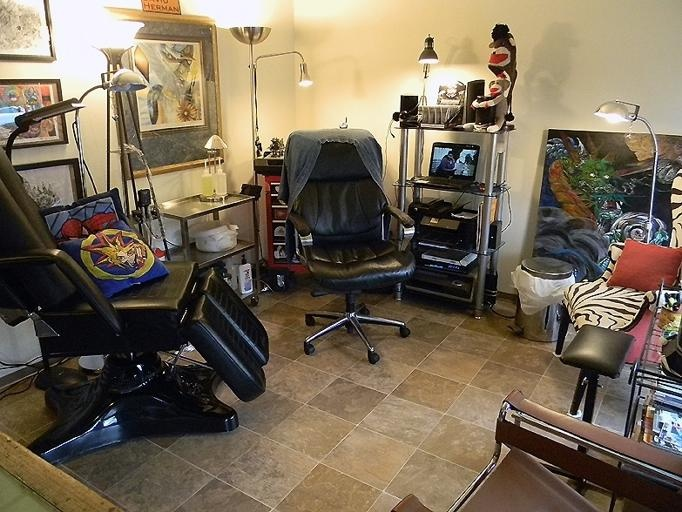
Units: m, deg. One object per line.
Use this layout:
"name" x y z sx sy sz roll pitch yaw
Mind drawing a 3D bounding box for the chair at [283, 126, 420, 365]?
"chair" 0.025 -0.133 3.413 1.045 1.416 1.003 13 24 32

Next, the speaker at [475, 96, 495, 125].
"speaker" 1.008 -1.015 3.391 0.173 0.245 0.144 3 12 18

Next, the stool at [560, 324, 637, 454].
"stool" 1.209 0.616 2.270 0.316 0.556 0.302 12 50 24

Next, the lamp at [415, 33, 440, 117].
"lamp" 0.671 -1.423 3.755 0.163 0.517 0.465 2 22 9

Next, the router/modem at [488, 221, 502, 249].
"router/modem" 1.171 -0.167 3.725 0.055 0.147 0.168 1 48 18

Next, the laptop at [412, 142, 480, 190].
"laptop" 0.815 -0.703 3.772 0.407 0.280 0.331 13 27 32

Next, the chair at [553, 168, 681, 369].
"chair" 1.657 0.269 2.957 0.574 0.990 1.084 13 26 31

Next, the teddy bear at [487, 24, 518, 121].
"teddy bear" 1.151 -1.303 3.465 0.205 0.654 0.391 6 24 18

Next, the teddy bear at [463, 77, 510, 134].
"teddy bear" 1.002 -1.116 3.528 0.359 0.486 0.336 5 30 13

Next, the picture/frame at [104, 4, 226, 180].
"picture/frame" -1.250 -1.164 3.401 0.095 1.298 1.164 17 27 31

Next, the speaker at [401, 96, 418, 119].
"speaker" 0.510 -1.142 3.694 0.137 0.140 0.117 4 23 12

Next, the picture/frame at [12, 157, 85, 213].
"picture/frame" -1.806 -0.395 3.024 0.482 0.403 0.033 3 13 13

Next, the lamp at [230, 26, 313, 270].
"lamp" -0.518 -1.077 3.818 0.690 1.502 0.437 0 -21 -15
